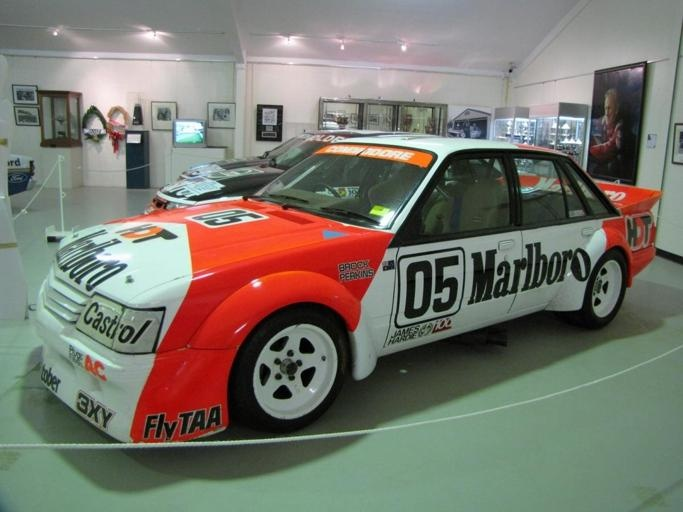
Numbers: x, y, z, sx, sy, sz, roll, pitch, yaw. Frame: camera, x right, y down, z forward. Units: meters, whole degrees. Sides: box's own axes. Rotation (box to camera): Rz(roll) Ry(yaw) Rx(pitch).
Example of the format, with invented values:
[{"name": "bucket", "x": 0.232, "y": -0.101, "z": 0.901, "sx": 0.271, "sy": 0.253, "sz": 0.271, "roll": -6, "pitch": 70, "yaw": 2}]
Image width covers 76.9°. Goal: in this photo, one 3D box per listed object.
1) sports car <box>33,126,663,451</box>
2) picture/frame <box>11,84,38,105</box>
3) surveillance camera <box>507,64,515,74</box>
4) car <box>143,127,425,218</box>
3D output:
[{"name": "sports car", "x": 0.266, "y": 0.206, "z": 3.073, "sx": 3.694, "sy": 1.213, "sz": 1.881, "roll": -6, "pitch": 14, "yaw": -29}, {"name": "picture/frame", "x": -8.475, "y": -4.316, "z": 11.525, "sx": 0.708, "sy": 0.522, "sz": 0.076, "roll": 2, "pitch": 13, "yaw": 1}, {"name": "surveillance camera", "x": 4.613, "y": -5.067, "z": 11.719, "sx": 0.119, "sy": 0.126, "sz": 0.194, "roll": 2, "pitch": -21, "yaw": 2}, {"name": "car", "x": -0.580, "y": -0.964, "z": 5.953, "sx": 3.755, "sy": 1.347, "sz": 1.631, "roll": 0, "pitch": 11, "yaw": -11}]
